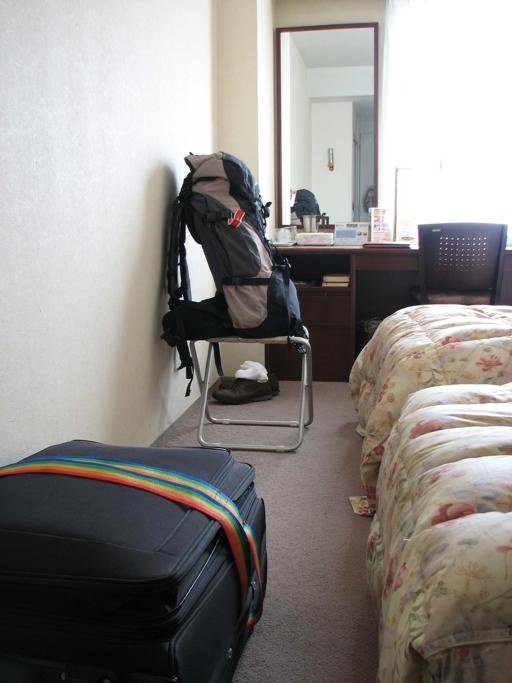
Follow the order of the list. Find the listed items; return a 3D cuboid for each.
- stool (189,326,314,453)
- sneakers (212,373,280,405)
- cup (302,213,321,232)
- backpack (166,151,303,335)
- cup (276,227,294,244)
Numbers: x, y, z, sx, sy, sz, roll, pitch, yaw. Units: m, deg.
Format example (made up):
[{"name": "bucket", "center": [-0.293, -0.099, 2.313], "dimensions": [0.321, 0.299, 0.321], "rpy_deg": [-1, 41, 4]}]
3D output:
[{"name": "stool", "center": [-0.010, 0.237, 2.264], "dimensions": [0.506, 0.563, 0.453], "rpy_deg": [1, 2, 7]}, {"name": "sneakers", "center": [-0.051, 0.234, 2.778], "dimensions": [0.380, 0.172, 0.139], "rpy_deg": [2, 0, -34]}, {"name": "cup", "center": [0.351, -0.761, 3.524], "dimensions": [0.137, 0.135, 0.086], "rpy_deg": [-2, 4, -33]}, {"name": "backpack", "center": [-0.071, -0.376, 2.094], "dimensions": [0.478, 0.671, 0.233], "rpy_deg": [0, 8, -5]}, {"name": "cup", "center": [0.175, -0.648, 3.362], "dimensions": [0.107, 0.116, 0.067], "rpy_deg": [8, 19, 22]}]
